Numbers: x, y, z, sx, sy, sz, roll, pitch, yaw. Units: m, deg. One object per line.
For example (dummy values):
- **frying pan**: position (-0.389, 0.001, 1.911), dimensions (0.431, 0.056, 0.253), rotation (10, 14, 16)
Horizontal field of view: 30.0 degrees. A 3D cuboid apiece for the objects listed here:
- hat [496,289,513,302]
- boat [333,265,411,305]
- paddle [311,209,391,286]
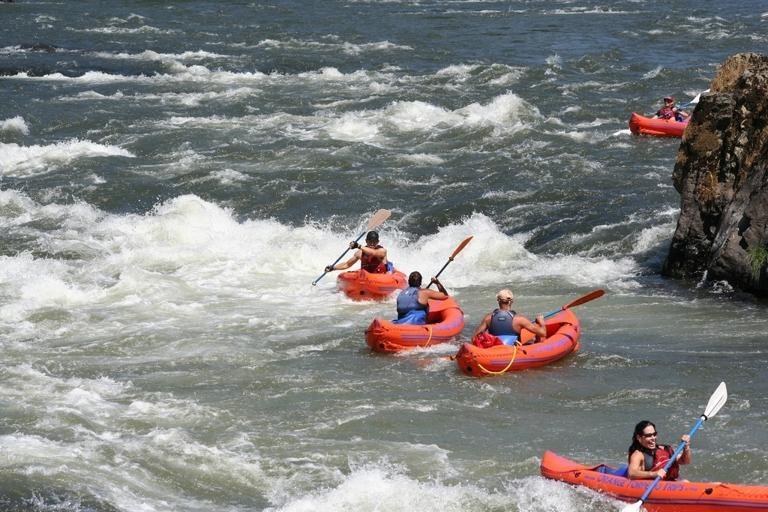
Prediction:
- **hat**: position (3.113, 0.965, 36.333), dimensions (0.318, 0.252, 0.196), rotation (-2, 17, -17)
- **boat**: position (-0.322, 0.805, 40.064), dimensions (2.685, 0.765, 0.918), rotation (6, -5, -9)
- **paddle**: position (-0.918, -0.193, 41.905), dimensions (0.262, 3.949, 0.445), rotation (47, 12, -55)
